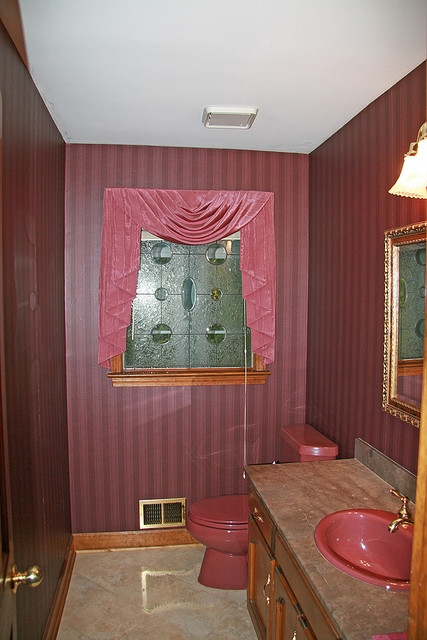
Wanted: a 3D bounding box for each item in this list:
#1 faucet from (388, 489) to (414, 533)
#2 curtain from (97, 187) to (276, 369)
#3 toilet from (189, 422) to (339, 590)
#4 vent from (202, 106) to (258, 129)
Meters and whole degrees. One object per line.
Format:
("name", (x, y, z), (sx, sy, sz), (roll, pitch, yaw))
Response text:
("faucet", (0.472, 0.493, 1.161), (0.043, 0.082, 0.179), (2, 4, 22))
("curtain", (-0.142, -0.254, 2.703), (1.060, 1.134, 0.070), (-1, 35, -7))
("toilet", (0.149, 0.946, 2.185), (0.563, 0.697, 0.427), (-4, 6, 15))
("vent", (0.071, -0.920, 2.077), (0.249, 0.027, 0.261), (2, 0, 1))
